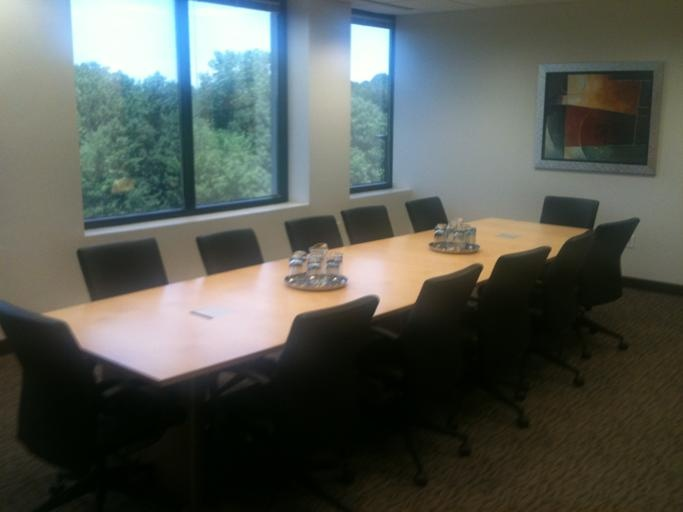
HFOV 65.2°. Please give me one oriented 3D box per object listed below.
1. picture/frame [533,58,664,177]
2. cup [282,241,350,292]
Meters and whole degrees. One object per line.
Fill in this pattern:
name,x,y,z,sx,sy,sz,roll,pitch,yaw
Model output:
picture/frame,3.084,-1.667,6.284,1.327,1.272,0.101,10,18,38
cup,-0.208,0.099,3.712,0.345,0.212,0.341,0,17,0
